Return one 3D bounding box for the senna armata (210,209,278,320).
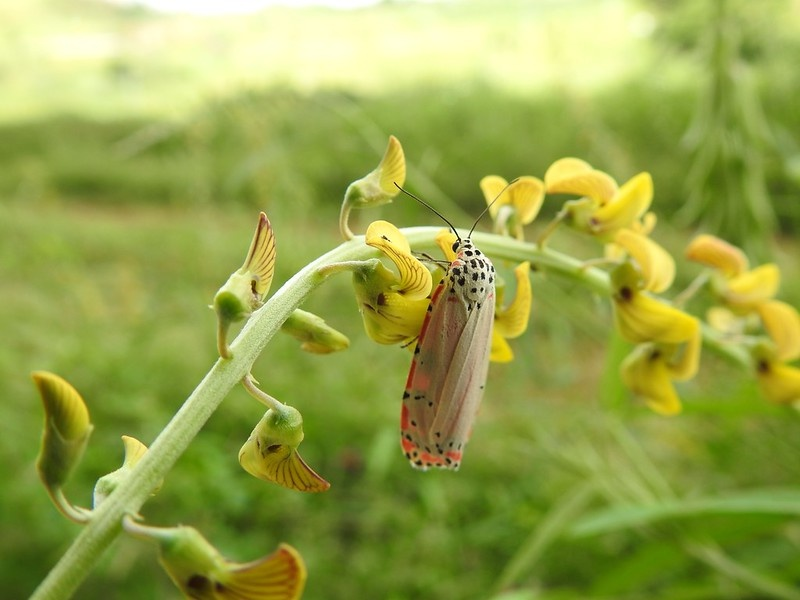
[{"bbox_3d":[-0.197,-0.036,1.145,0.065,0.140,0.067,0,18,-23],"label":"senna armata"}]

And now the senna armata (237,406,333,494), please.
[{"bbox_3d":[-0.145,0.185,1.163,0.137,0.097,0.073,9,10,31],"label":"senna armata"}]

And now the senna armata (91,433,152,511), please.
[{"bbox_3d":[-0.348,0.214,1.132,0.053,0.093,0.059,33,-15,16],"label":"senna armata"}]

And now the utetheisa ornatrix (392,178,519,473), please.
[{"bbox_3d":[0.085,0.027,1.201,0.141,0.393,0.108,5,-2,-30],"label":"utetheisa ornatrix"}]
